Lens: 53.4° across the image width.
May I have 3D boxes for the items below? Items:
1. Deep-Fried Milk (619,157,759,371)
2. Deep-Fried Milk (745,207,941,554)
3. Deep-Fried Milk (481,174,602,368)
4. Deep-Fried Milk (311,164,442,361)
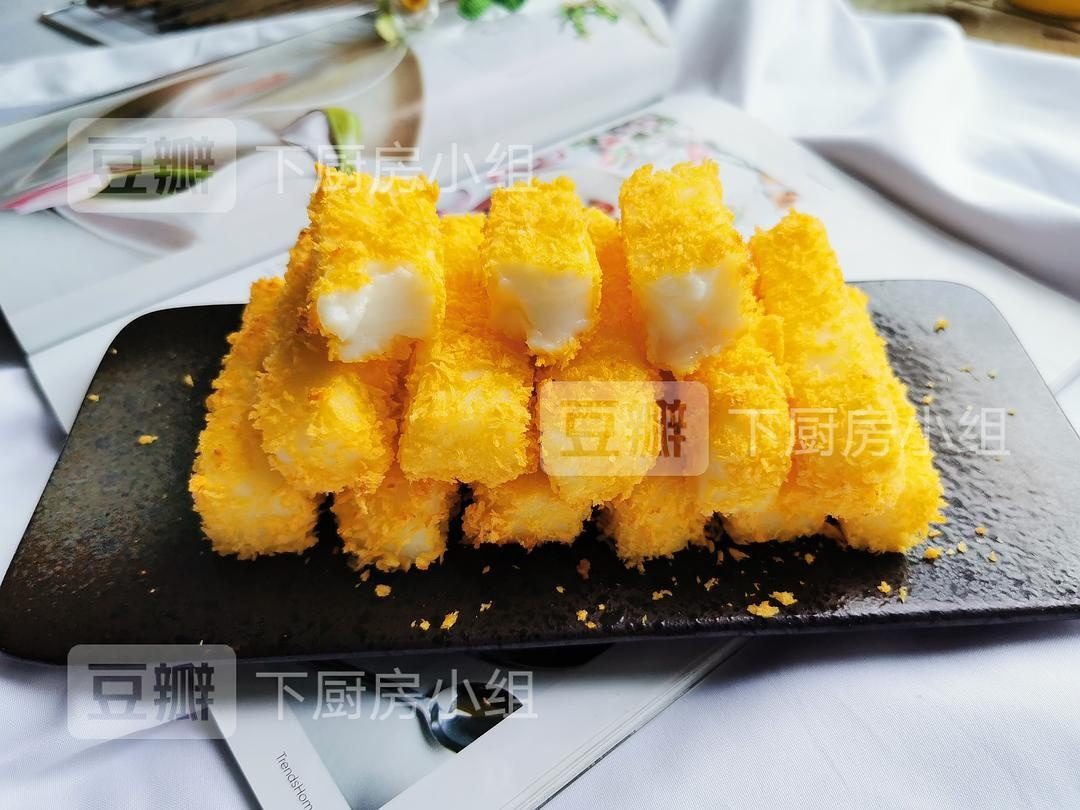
[{"bbox_3d":[0.206,-0.183,1.434,0.200,0.114,0.256,-18,68,9],"label":"Deep-Fried Milk"},{"bbox_3d":[0.411,-0.024,1.496,0.192,0.484,0.392,-28,64,20],"label":"Deep-Fried Milk"},{"bbox_3d":[0.004,-0.180,1.435,0.179,0.109,0.225,-6,60,-4],"label":"Deep-Fried Milk"},{"bbox_3d":[-0.219,-0.185,1.431,0.217,0.111,0.236,1,64,-6],"label":"Deep-Fried Milk"}]
